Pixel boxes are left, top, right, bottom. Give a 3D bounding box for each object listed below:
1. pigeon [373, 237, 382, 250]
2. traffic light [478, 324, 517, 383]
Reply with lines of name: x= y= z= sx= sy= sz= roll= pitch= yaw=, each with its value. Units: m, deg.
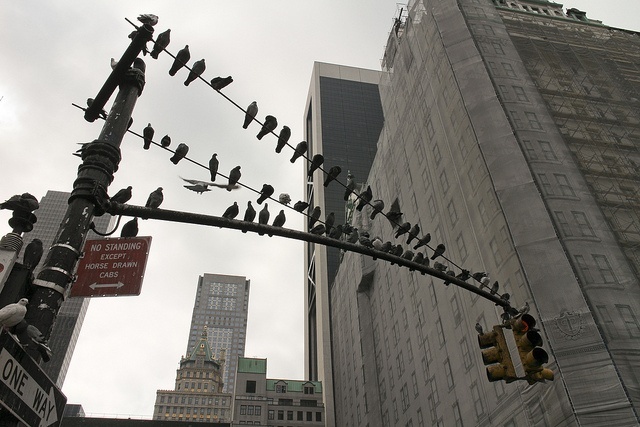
pigeon: x=2.453 y=1.367 z=22.530 sx=0.345 sy=0.474 sz=0.463 roll=-1 pitch=-16 yaw=4
traffic light: x=7.065 y=5.772 z=20.710 sx=0.930 sy=2.593 sz=0.805 roll=-22 pitch=-54 yaw=18
